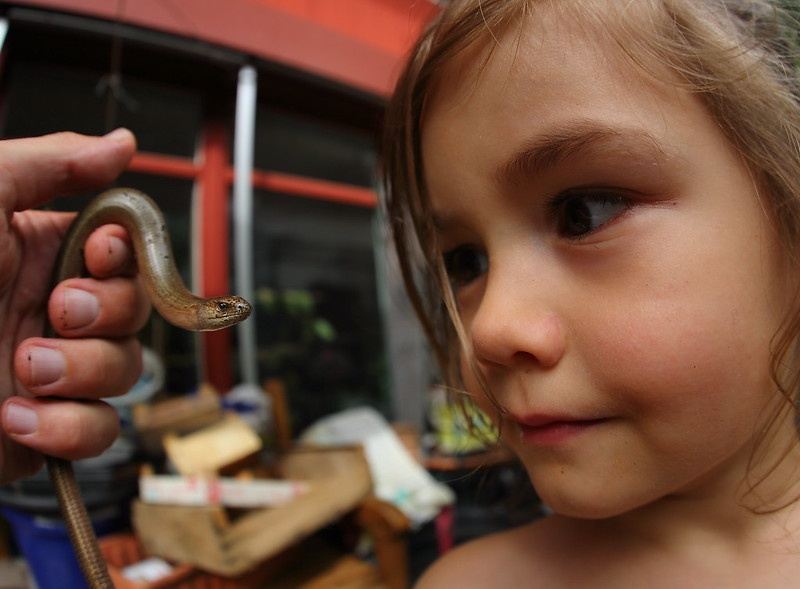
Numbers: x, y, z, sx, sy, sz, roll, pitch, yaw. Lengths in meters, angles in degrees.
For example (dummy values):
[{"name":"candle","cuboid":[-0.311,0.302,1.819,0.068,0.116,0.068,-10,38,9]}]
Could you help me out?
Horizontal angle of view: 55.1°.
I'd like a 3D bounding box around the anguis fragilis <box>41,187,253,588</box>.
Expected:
[{"name":"anguis fragilis","cuboid":[-0.458,0.131,1.273,0.357,0.620,0.218,-2,-2,26]}]
